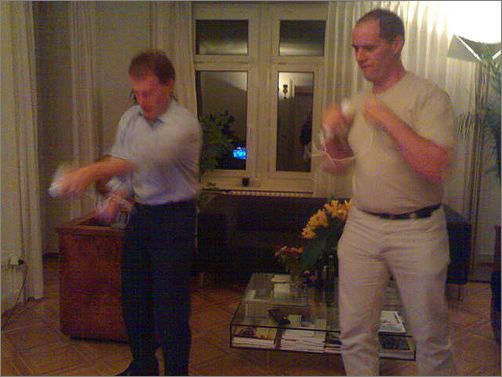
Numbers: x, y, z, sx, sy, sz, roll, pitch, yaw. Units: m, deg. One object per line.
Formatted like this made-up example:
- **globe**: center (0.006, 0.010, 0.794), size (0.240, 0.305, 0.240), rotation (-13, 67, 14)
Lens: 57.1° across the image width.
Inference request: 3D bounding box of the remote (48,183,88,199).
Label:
- **remote**: center (-0.700, 0.007, 1.759), size (0.147, 0.062, 0.081), rotation (-1, 13, -8)

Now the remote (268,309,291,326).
- **remote**: center (0.150, 0.689, 2.450), size (0.094, 0.020, 0.164), rotation (-1, 16, -21)

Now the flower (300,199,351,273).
- **flower**: center (0.381, 0.241, 2.484), size (0.186, 0.366, 0.327), rotation (22, -6, -5)

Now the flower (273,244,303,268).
- **flower**: center (0.223, 0.390, 2.722), size (0.164, 0.106, 0.159), rotation (2, 1, 2)
